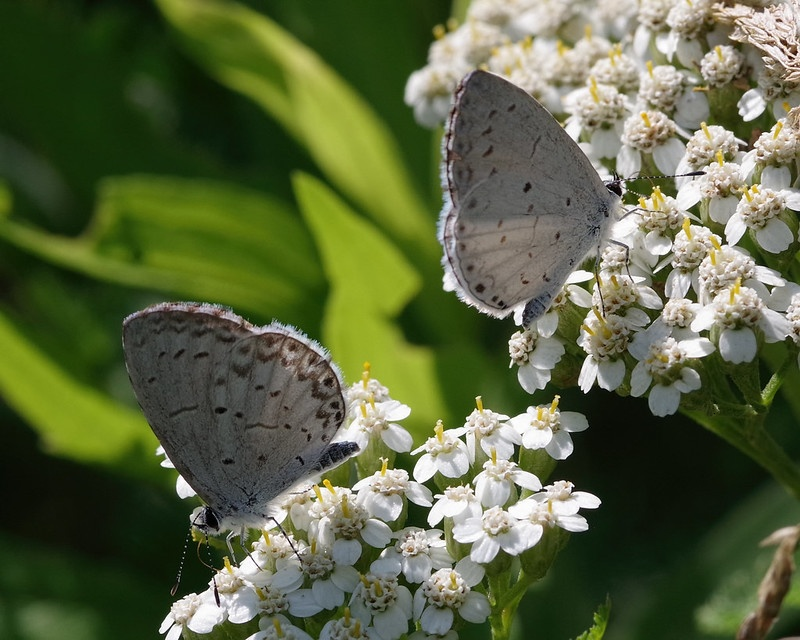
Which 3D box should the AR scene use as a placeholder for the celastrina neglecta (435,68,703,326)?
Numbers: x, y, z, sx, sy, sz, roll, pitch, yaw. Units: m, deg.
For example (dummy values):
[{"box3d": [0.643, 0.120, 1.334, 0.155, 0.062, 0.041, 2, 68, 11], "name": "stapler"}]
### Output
[{"box3d": [0.324, -0.296, 2.578, 0.472, 0.543, 0.326, -8, 45, 2], "name": "celastrina neglecta"}]
